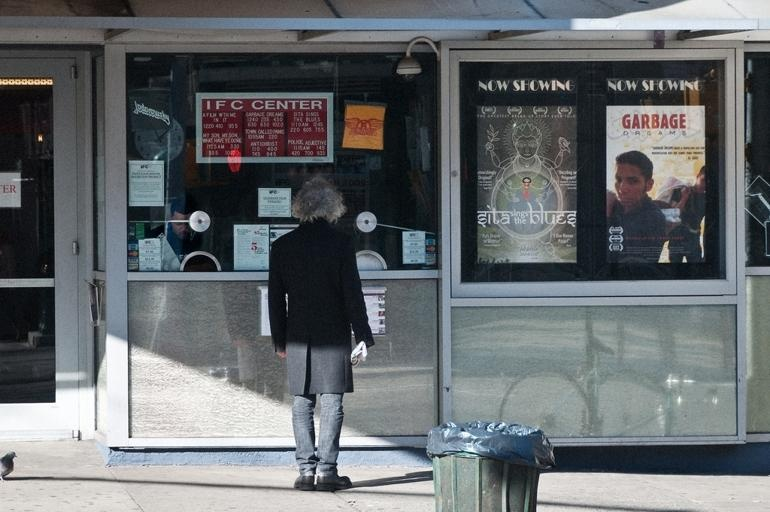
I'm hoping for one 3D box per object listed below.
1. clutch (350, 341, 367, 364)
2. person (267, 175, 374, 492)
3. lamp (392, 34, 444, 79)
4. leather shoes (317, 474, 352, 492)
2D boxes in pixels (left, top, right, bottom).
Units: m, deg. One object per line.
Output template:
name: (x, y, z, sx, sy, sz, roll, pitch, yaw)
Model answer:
clutch: (-0.187, 0.834, 12.043, 0.072, 0.178, 0.185, 26, -28, -36)
person: (-0.549, 0.676, 12.068, 0.866, 2.640, 0.351, -1, 2, -3)
lamp: (0.305, -1.783, 12.691, 0.435, 0.369, 0.229, -1, -4, 27)
leather shoes: (-0.437, 1.932, 12.148, 0.334, 0.152, 0.115, -4, 8, -30)
